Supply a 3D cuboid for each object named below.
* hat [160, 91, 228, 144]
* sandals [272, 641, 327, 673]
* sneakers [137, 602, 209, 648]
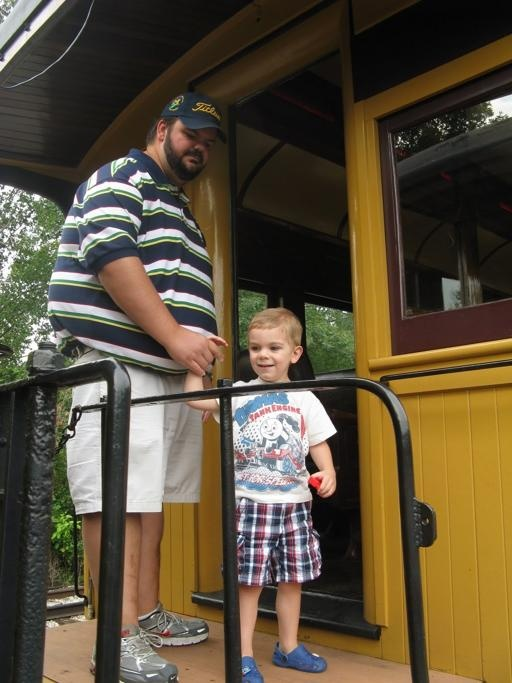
[{"bbox_3d":[-0.196,-0.685,1.909,0.173,0.087,0.129,30,18,39],"label":"hat"},{"bbox_3d":[0.115,0.868,1.697,0.131,0.051,0.064,-10,-19,28],"label":"sandals"},{"bbox_3d":[-0.248,0.895,2.012,0.268,0.111,0.125,4,-5,-29],"label":"sneakers"}]
